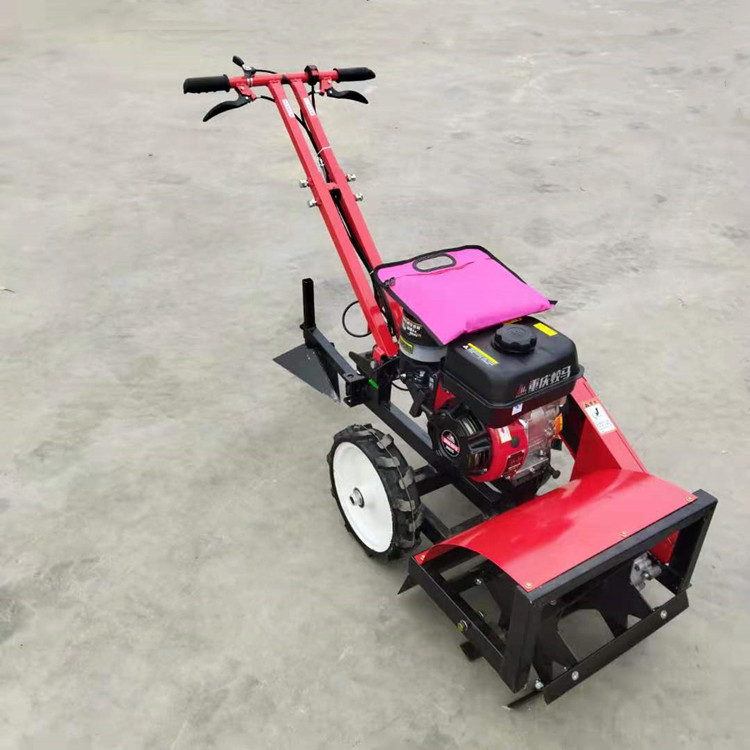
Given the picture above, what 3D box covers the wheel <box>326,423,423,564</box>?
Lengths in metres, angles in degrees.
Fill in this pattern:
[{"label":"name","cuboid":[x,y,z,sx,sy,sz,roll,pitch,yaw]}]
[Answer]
[{"label":"wheel","cuboid":[-0.011,0.679,4.234,0.248,0.578,0.604,-21,41,-29]}]
